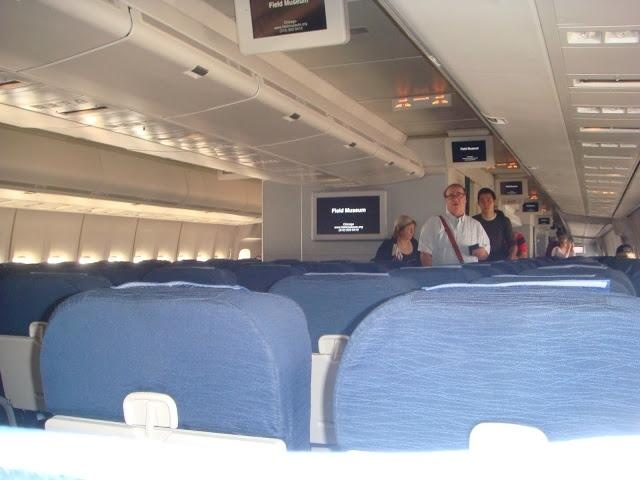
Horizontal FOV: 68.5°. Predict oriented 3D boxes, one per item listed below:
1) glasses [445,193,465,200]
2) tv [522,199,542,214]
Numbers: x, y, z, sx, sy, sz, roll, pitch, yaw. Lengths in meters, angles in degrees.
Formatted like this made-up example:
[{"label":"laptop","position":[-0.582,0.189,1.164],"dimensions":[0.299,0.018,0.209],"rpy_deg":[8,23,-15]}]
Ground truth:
[{"label":"glasses","position":[1.625,-0.518,5.660],"dimensions":[0.118,0.056,0.135],"rpy_deg":[-4,-12,24]},{"label":"tv","position":[8.415,-1.287,18.697],"dimensions":[0.843,0.425,0.559],"rpy_deg":[6,-2,27]}]
